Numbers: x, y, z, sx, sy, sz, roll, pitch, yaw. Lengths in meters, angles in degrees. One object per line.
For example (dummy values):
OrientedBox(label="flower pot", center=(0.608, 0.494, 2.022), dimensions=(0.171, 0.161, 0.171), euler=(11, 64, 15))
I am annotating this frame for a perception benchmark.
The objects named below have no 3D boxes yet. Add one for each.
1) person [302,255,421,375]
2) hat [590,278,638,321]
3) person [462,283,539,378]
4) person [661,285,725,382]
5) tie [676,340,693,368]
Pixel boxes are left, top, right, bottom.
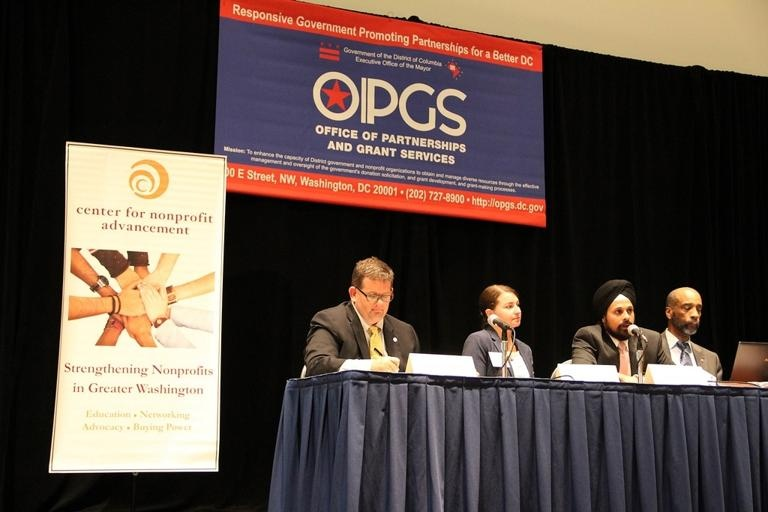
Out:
OrientedBox(label="person", center=(-0.199, 0.461, 5.932), dimensions=(0.978, 0.873, 0.481), euler=(4, -7, -44))
OrientedBox(label="hat", center=(1.904, 0.340, 6.459), dimensions=(0.300, 0.345, 0.366), euler=(-14, -29, 17))
OrientedBox(label="person", center=(0.816, 0.553, 5.732), dimensions=(0.485, 0.700, 0.893), euler=(-3, -6, 16))
OrientedBox(label="person", center=(2.666, 0.696, 6.715), dimensions=(0.735, 0.686, 0.401), euler=(6, -20, -14))
OrientedBox(label="tie", center=(2.552, 0.832, 6.574), dimensions=(0.115, 0.191, 0.176), euler=(-3, -5, 18))
